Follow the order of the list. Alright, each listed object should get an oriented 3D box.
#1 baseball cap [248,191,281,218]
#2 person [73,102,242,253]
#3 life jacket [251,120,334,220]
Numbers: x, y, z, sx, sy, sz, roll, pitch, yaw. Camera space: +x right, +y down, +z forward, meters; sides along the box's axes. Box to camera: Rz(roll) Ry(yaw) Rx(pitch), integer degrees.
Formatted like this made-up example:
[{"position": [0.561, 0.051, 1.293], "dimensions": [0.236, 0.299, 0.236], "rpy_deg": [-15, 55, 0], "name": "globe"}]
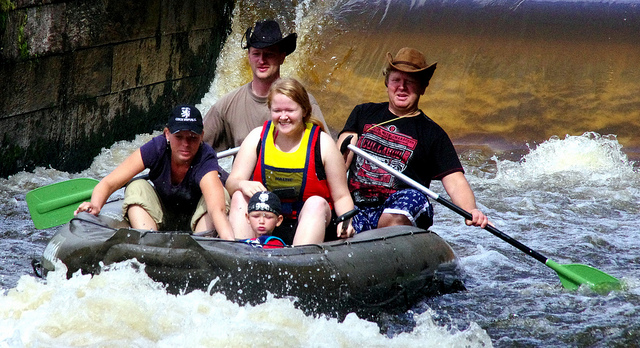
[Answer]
[{"position": [-0.605, 0.303, 6.454], "dimensions": [0.283, 0.198, 0.283], "rpy_deg": [12, -8, 6], "name": "baseball cap"}, {"position": [-1.706, -0.055, 7.018], "dimensions": [1.448, 1.098, 2.009], "rpy_deg": [5, 8, -9], "name": "person"}, {"position": [-0.303, -0.037, 6.762], "dimensions": [0.837, 1.079, 0.281], "rpy_deg": [6, 15, 1], "name": "life jacket"}]
